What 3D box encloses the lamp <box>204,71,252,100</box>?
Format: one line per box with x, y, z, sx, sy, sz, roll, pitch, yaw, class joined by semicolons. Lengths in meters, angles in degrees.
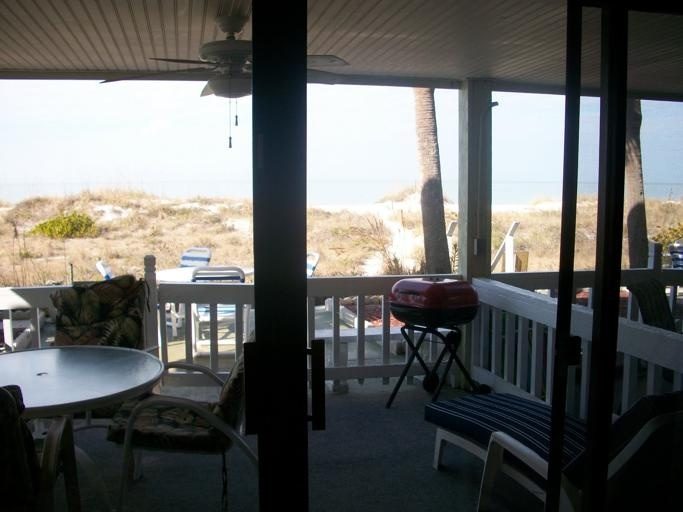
-0.675;-1.022;3.533;0.336;0.078;0.303;-2;-2;-2;lamp
